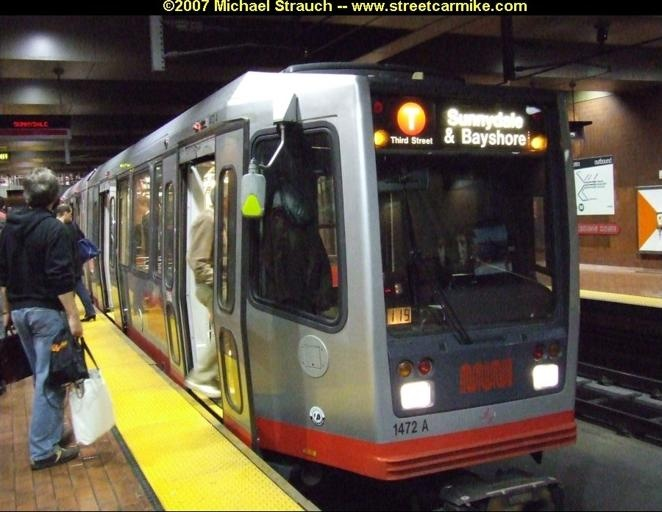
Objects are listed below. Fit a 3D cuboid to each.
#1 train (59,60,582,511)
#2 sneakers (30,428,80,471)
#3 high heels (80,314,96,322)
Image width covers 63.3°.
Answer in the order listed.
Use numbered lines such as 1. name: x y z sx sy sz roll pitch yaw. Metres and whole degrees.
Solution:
1. train: -0.139 0.241 4.815 4.107 3.771 1.969 2 8 36
2. sneakers: -2.248 1.608 4.481 0.130 0.274 0.407 12 18 35
3. high heels: -4.527 1.155 9.929 0.298 0.140 0.118 3 -6 5
